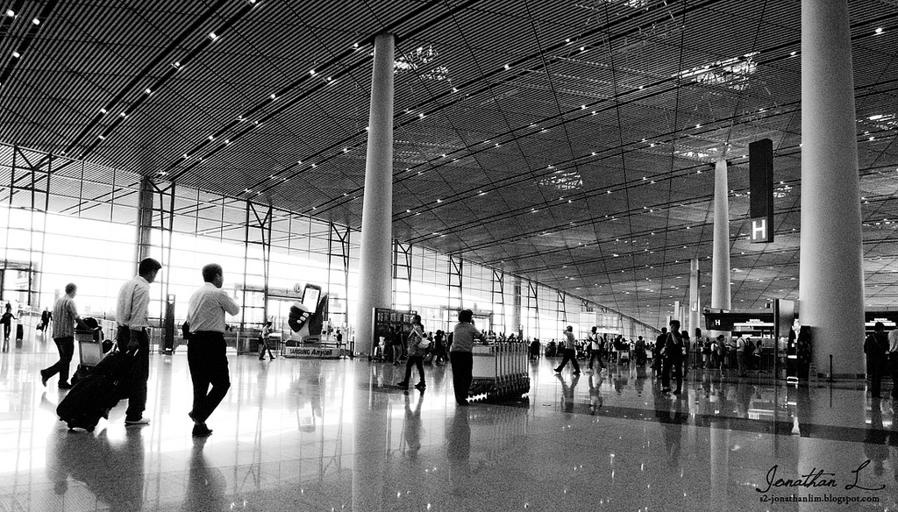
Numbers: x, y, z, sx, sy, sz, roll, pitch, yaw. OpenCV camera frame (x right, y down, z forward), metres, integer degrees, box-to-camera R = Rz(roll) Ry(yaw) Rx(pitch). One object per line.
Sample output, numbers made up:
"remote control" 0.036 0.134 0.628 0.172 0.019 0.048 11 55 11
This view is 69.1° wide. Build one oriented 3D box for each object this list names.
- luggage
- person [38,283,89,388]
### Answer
"luggage" -6.817 2.597 12.872 0.679 1.743 1.093 13 -29 49
"person" -9.538 1.932 16.250 1.197 2.673 1.206 -1 -1 -19
